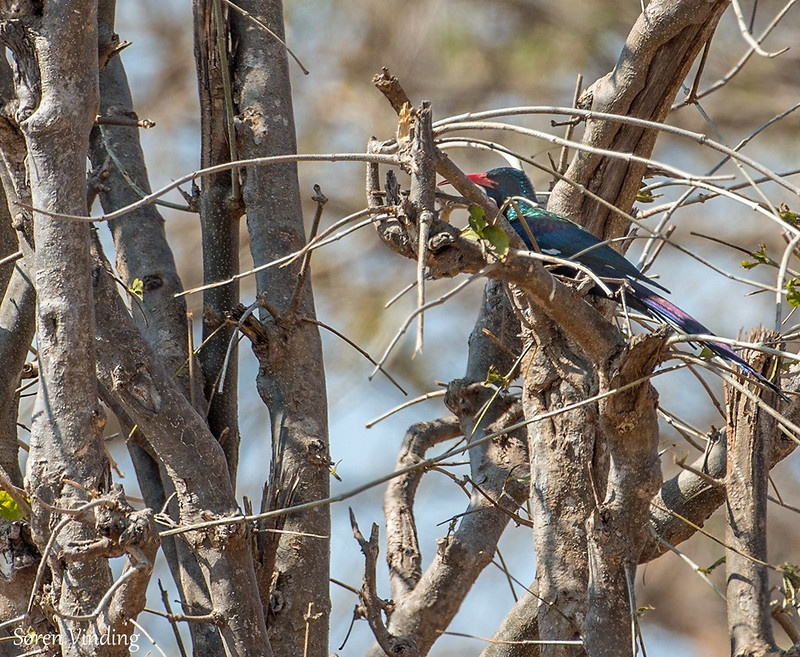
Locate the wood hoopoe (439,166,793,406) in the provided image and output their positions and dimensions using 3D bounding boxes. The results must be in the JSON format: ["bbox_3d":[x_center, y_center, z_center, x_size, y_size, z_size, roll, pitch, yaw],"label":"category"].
[{"bbox_3d":[0.861,-0.347,7.211,1.314,0.362,0.657,5,-85,22],"label":"wood hoopoe"}]
